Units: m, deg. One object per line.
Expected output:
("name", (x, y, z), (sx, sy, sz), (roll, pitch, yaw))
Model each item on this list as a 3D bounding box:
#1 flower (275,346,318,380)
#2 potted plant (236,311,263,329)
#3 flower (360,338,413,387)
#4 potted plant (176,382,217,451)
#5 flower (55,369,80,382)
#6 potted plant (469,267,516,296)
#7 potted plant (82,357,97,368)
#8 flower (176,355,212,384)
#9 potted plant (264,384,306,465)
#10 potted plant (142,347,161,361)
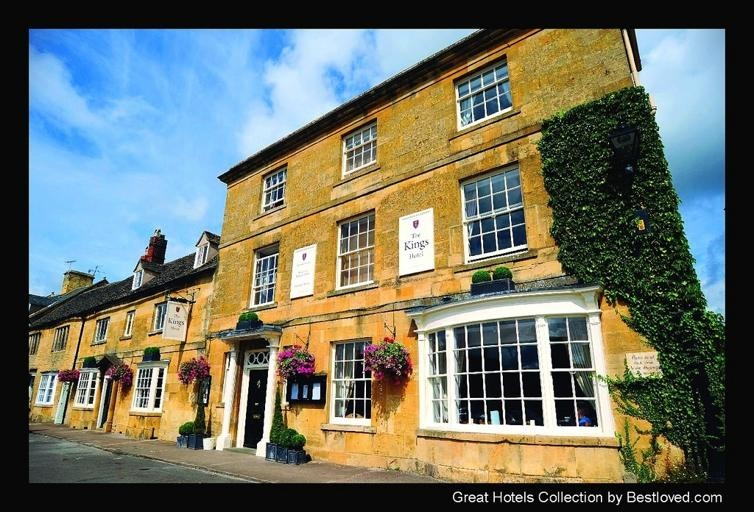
("flower", (-2.275, 2.926, 12.581), (1.013, 0.934, 0.816), (-7, -3, -17))
("potted plant", (-3.964, 2.023, 14.099), (0.679, 0.623, 0.553), (-11, -12, 43))
("flower", (0.213, 2.517, 10.985), (0.653, 1.134, 1.127), (19, -27, -40))
("potted plant", (-5.824, 5.224, 14.678), (1.116, 2.421, 1.007), (-26, -40, 36))
("flower", (-15.076, 5.813, 22.009), (0.761, 0.578, 0.717), (2, -18, -5))
("potted plant", (2.593, 0.662, 9.963), (1.056, 0.614, 0.602), (-6, -11, 34))
("potted plant", (-13.587, 5.013, 21.379), (0.532, 0.490, 0.294), (-20, -28, 27))
("flower", (-6.200, 3.833, 15.435), (1.043, 0.703, 1.030), (-2, -8, 3))
("potted plant", (-2.383, 4.466, 11.900), (1.176, 1.766, 0.499), (-9, -23, 25))
("potted plant", (-8.831, 3.816, 17.618), (0.704, 0.605, 0.515), (-9, -23, 22))
